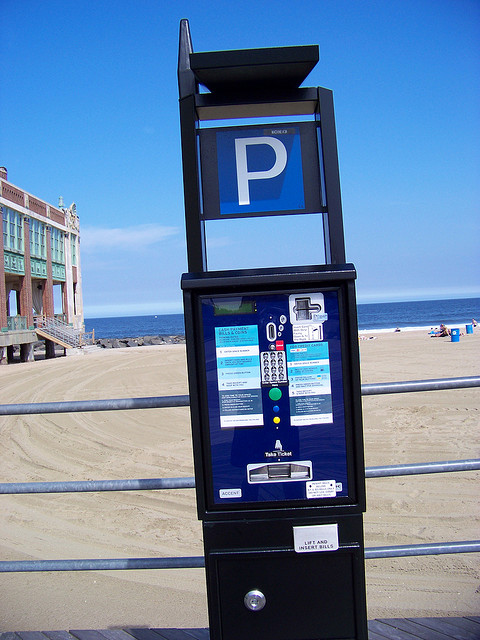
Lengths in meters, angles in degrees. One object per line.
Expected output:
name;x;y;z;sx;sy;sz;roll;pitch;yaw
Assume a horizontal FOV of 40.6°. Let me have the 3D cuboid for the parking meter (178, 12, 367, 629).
parking meter;0.080;-0.020;2.197;0.571;1.984;0.499;-4;-1;7
